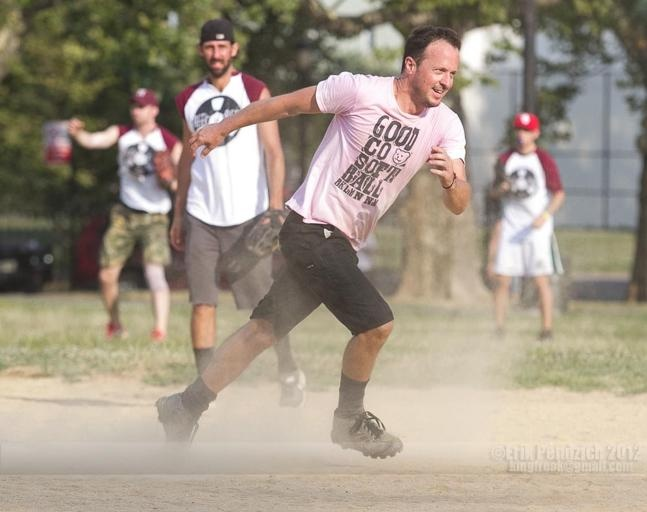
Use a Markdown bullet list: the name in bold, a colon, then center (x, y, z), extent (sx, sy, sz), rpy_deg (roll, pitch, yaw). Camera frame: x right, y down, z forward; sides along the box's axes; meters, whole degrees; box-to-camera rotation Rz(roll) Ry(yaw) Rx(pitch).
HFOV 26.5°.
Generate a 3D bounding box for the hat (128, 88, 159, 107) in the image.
- **hat**: center (-1.525, -1.341, 11.766), extent (0.198, 0.164, 0.287), rpy_deg (4, 6, 7)

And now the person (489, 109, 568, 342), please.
- **person**: center (1.654, -0.291, 11.011), extent (0.550, 1.469, 1.459), rpy_deg (2, 14, 8)

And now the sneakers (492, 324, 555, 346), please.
- **sneakers**: center (1.521, 0.594, 10.433), extent (0.471, 0.112, 0.112), rpy_deg (8, 16, 25)

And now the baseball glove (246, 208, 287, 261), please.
- **baseball glove**: center (-0.423, -0.162, 10.017), extent (0.234, 0.387, 0.194), rpy_deg (23, 18, 4)

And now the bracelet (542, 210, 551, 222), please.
- **bracelet**: center (1.787, -0.323, 10.965), extent (0.057, 0.049, 0.061), rpy_deg (-1, 3, -2)

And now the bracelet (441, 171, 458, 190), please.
- **bracelet**: center (0.834, -0.491, 9.005), extent (0.101, 0.029, 0.086), rpy_deg (-40, -3, 40)

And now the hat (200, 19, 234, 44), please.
- **hat**: center (-0.782, -1.633, 10.034), extent (0.185, 0.141, 0.196), rpy_deg (-1, 5, 20)
